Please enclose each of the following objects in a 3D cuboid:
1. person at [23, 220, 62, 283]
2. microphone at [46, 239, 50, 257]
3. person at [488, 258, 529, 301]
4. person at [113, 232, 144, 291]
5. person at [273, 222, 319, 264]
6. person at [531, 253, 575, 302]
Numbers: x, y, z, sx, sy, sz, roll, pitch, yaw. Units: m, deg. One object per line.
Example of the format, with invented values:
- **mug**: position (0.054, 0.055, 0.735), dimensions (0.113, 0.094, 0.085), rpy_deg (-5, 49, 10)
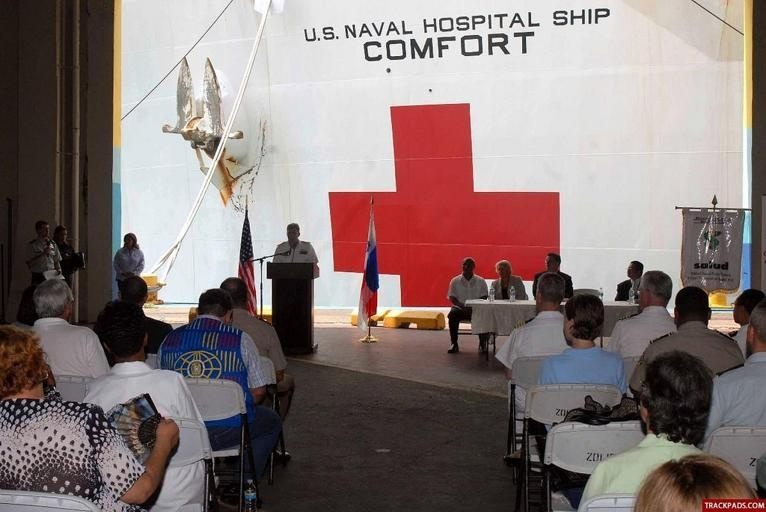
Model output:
- **person**: position (-4.656, -0.061, 12.299), dimensions (0.446, 0.827, 0.760), rpy_deg (-2, 7, -22)
- **microphone**: position (-4.576, -0.111, 12.262), dimensions (0.068, 0.197, 0.115), rpy_deg (-2, 7, -21)
- **person**: position (1.809, 0.485, 13.136), dimensions (0.519, 0.854, 0.415), rpy_deg (-5, -8, 19)
- **person**: position (-4.286, 0.343, 15.012), dimensions (0.444, 1.427, 0.390), rpy_deg (5, 16, -16)
- **person**: position (-1.354, -0.089, 13.718), dimensions (0.668, 0.835, 0.407), rpy_deg (-2, -1, 2)
- **person**: position (2.330, 0.341, 12.470), dimensions (0.608, 0.779, 0.422), rpy_deg (-3, -15, 29)
